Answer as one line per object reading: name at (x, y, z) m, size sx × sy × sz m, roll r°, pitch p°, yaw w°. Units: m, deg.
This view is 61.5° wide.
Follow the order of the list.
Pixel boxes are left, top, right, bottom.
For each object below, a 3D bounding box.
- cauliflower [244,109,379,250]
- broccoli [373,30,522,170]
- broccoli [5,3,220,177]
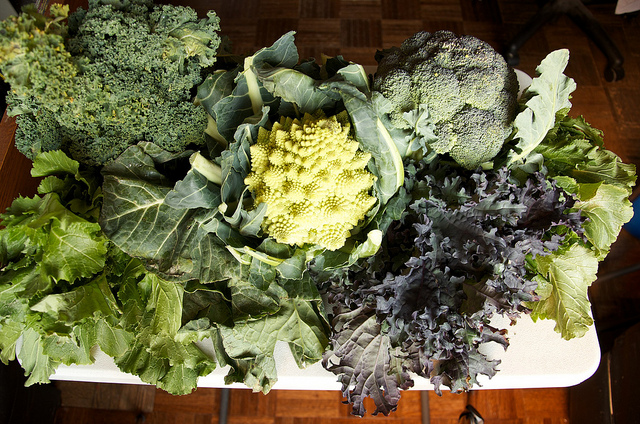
cauliflower at (-0.044, -0.095, 1.672) m, size 0.400 × 0.219 × 0.389 m, roll 38°, pitch 77°, yaw 12°
broccoli at (0.405, -0.372, 1.696) m, size 0.457 × 0.166 × 0.339 m, roll 25°, pitch 74°, yaw 9°
broccoli at (-0.654, -0.372, 1.853) m, size 0.534 × 0.318 × 0.612 m, roll -17°, pitch 88°, yaw -9°
